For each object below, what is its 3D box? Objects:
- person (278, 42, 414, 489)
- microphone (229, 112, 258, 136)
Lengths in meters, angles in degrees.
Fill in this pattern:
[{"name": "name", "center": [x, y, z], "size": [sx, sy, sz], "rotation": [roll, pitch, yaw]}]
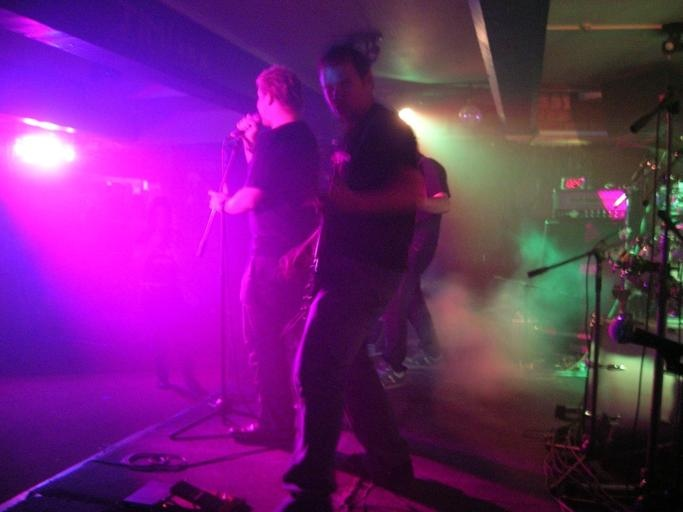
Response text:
[{"name": "person", "center": [0.056, 0.055, 3.865], "size": [0.909, 2.998, 0.446], "rotation": [-1, 5, -7]}, {"name": "microphone", "center": [-0.789, -1.075, 4.754], "size": [0.225, 0.167, 0.079], "rotation": [-31, 40, -4]}]
